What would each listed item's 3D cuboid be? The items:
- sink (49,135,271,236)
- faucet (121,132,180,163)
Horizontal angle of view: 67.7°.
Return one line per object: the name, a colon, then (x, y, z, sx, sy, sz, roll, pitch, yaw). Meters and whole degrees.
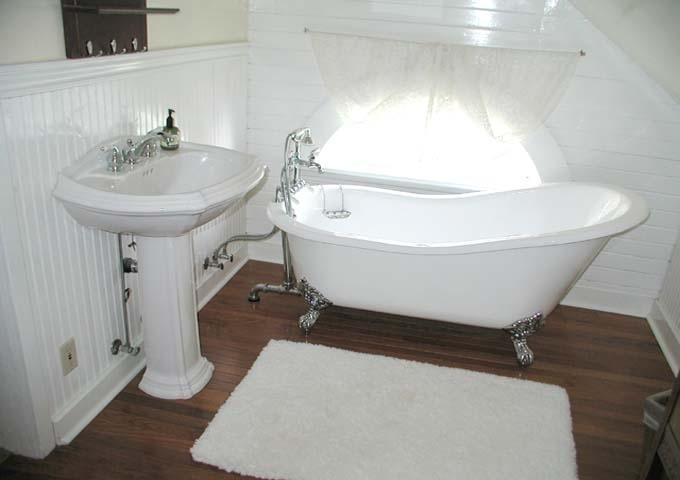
sink: (-0.807, -0.284, 2.418, 0.787, 0.318, 0.676, 6, 31, 2)
faucet: (-0.923, -0.482, 2.512, 0.103, 0.128, 0.345, 13, 25, 18)
